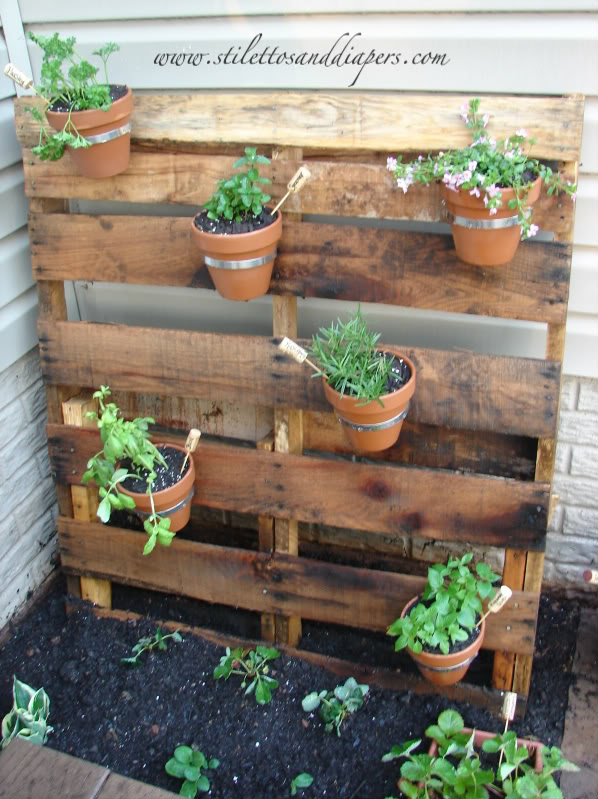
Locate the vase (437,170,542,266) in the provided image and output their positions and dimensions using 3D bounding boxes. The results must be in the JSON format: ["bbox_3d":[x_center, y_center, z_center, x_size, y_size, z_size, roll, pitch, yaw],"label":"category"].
[{"bbox_3d":[0.388,-0.355,1.280,0.180,0.142,0.184,7,20,25],"label":"vase"}]

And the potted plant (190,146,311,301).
[{"bbox_3d":[-0.106,-0.404,1.439,0.277,0.301,0.196,-19,30,-39],"label":"potted plant"}]

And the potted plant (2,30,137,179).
[{"bbox_3d":[-0.537,-0.709,1.530,0.248,0.297,0.252,36,65,26],"label":"potted plant"}]

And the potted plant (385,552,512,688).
[{"bbox_3d":[0.389,0.524,1.556,0.276,0.216,0.309,-11,19,35],"label":"potted plant"}]

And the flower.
[{"bbox_3d":[0.339,-0.441,1.272,0.385,0.274,0.291,10,29,20],"label":"flower"}]

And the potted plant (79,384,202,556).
[{"bbox_3d":[-0.391,0.172,1.621,0.241,0.395,0.295,6,32,17],"label":"potted plant"}]

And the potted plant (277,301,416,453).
[{"bbox_3d":[0.111,-0.026,1.426,0.304,0.267,0.277,7,33,28],"label":"potted plant"}]
